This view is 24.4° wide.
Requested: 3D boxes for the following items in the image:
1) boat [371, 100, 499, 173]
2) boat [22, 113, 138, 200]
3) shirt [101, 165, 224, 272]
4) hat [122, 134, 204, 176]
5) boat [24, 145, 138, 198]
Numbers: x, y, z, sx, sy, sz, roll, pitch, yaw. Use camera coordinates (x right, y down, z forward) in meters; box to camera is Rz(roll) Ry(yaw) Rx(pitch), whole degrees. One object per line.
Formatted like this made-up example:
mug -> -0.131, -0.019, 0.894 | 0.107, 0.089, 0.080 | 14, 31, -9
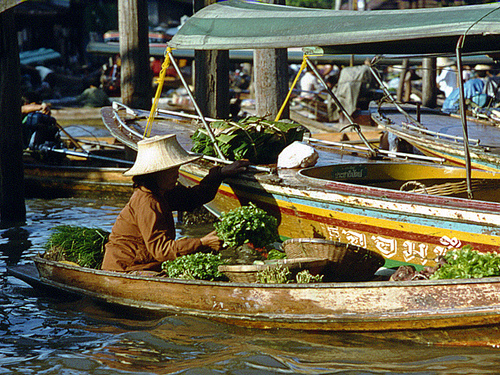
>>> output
boat -> 3.078, -0.875, 18.752 | 1.042, 0.450, 2.553 | -20, 30, -30
boat -> -3.031, -0.583, 20.491 | 2.867, 0.960, 1.447 | 10, 15, -5
shirt -> -1.055, 0.449, 15.758 | 1.903, 1.282, 1.018 | -7, 12, -23
hat -> -1.225, -0.492, 15.958 | 1.257, 0.400, 1.203 | -1, 13, 40
boat -> -2.938, -0.276, 20.123 | 2.189, 0.364, 1.086 | 2, 9, 12
